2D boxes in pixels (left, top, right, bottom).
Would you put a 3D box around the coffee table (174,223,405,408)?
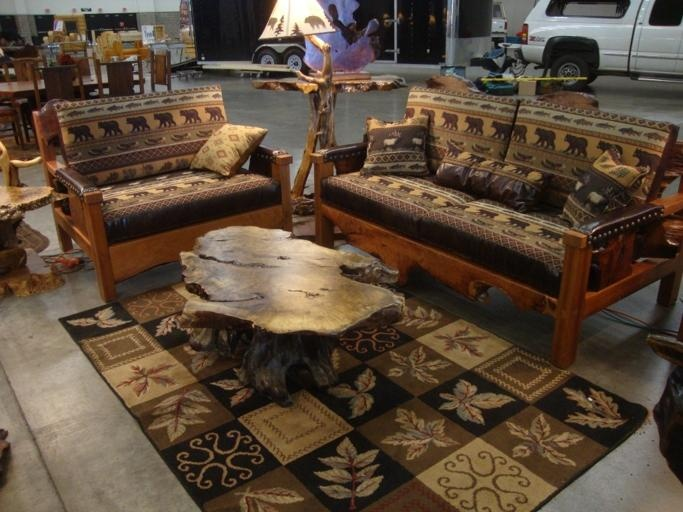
[{"bbox_3d":[-0.185,0.213,2.620,1.209,0.338,1.042,24,31,36],"label":"coffee table"}]
